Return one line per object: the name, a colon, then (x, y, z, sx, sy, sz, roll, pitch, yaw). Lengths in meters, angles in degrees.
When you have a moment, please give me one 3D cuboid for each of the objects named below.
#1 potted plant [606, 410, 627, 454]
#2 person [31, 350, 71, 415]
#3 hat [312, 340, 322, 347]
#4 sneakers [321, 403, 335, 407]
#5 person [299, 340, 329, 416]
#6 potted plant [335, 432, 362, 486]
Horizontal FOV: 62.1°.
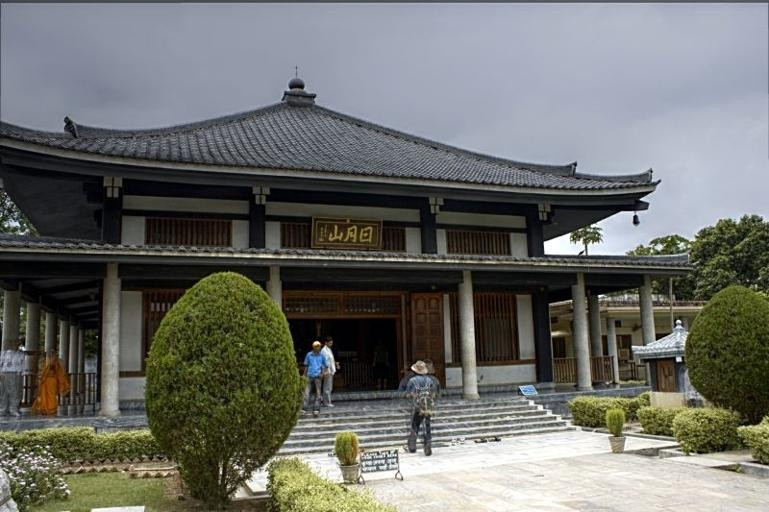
potted plant: (5.195, 3.906, 14.336, 0.374, 0.919, 0.682, 1, 2, 20)
person: (-8.557, 3.304, 16.231, 0.636, 1.639, 0.990, 0, 2, 10)
hat: (-1.748, 2.287, 16.543, 0.369, 0.135, 0.358, 2, -9, -12)
sneakers: (-1.504, 4.054, 17.247, 0.124, 0.149, 0.361, 13, -24, -36)
person: (-1.817, 3.142, 16.705, 0.612, 1.856, 0.942, 0, 2, -7)
potted plant: (-0.693, 3.836, 12.189, 0.472, 0.961, 0.518, 0, 2, -4)
